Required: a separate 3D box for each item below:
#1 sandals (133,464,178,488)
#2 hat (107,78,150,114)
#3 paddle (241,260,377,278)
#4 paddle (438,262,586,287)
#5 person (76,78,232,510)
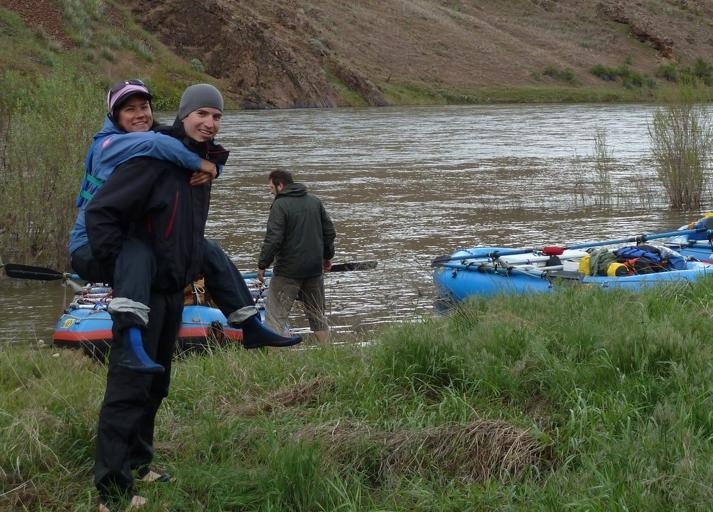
[{"bbox_3d":[-1.703,1.883,8.276,0.392,0.162,0.132,-5,4,12],"label":"sandals"},{"bbox_3d":[-1.987,-1.399,8.394,0.381,0.204,0.498,-16,8,-9],"label":"hat"},{"bbox_3d":[-0.676,0.220,14.482,1.781,0.233,0.173,-5,4,-9],"label":"paddle"},{"bbox_3d":[2.710,0.297,14.642,0.661,0.277,2.189,-3,3,-26],"label":"paddle"},{"bbox_3d":[-1.719,0.305,8.147,1.224,3.512,0.461,-5,4,-40],"label":"person"}]
